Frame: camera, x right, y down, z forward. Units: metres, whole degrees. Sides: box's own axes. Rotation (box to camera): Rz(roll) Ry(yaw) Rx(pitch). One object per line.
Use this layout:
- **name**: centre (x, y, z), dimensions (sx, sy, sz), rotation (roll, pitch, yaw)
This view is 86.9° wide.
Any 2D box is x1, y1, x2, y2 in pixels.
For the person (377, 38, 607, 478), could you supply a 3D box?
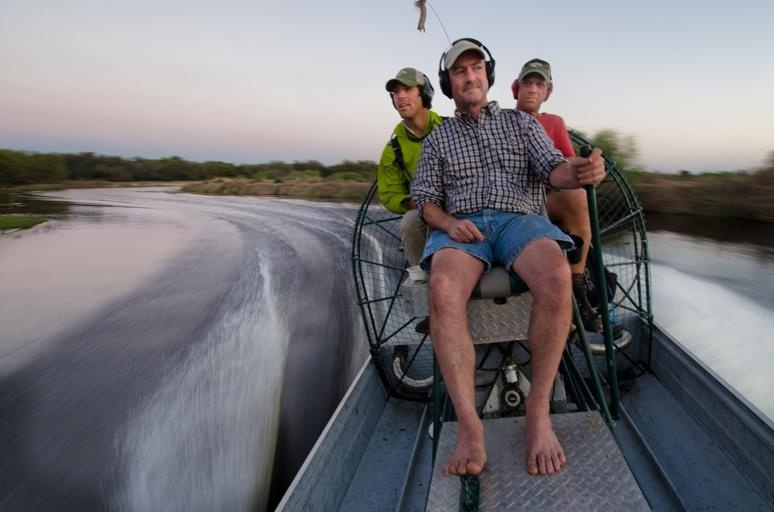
- **person**: centre (0.658, -0.137, 2.454), dimensions (0.974, 2.299, 1.466), rotation (-3, 19, 1)
